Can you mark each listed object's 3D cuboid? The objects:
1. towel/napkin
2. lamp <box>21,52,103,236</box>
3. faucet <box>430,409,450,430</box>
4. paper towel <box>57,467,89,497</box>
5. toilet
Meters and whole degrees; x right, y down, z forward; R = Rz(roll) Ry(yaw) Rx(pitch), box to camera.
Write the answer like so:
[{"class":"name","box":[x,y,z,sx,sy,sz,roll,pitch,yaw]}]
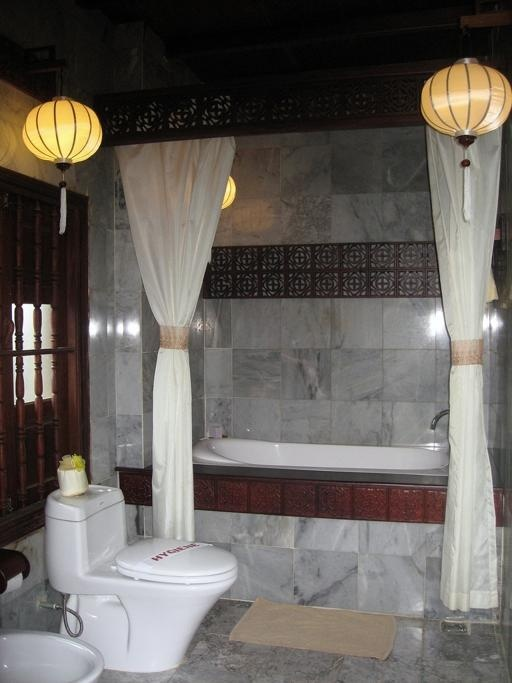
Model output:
[{"class":"towel/napkin","box":[0.261,1.261,2.802,0.699,0.023,0.402,0,4,15]},{"class":"lamp","box":[-0.728,-0.783,2.419,0.211,0.743,0.234,14,20,20]},{"class":"faucet","box":[1.091,0.475,3.783,0.094,0.157,0.282,0,4,16]},{"class":"paper towel","box":[-0.736,0.571,2.562,0.094,0.121,0.109,-3,2,6]},{"class":"toilet","box":[-0.465,0.961,2.775,0.791,0.931,0.498,-1,1,8]}]
